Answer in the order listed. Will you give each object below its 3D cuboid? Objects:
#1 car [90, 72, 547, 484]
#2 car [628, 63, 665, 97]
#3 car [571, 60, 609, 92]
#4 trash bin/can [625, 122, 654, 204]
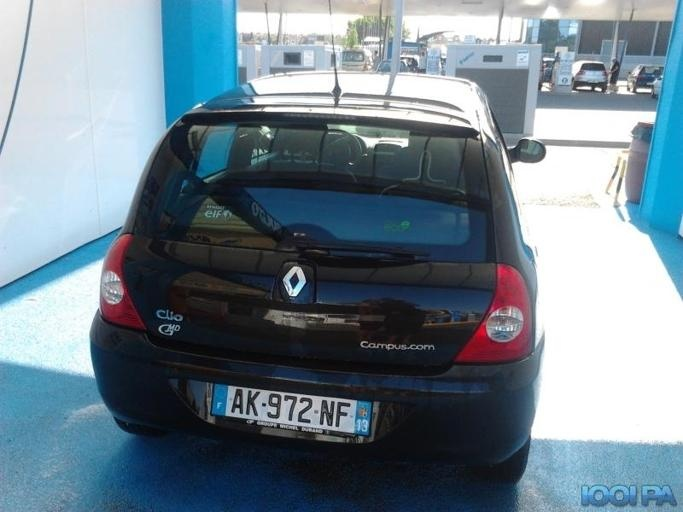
[{"bbox_3d":[0.140,-0.331,4.176,2.285,1.857,4.136,4,20,6],"label":"car"},{"bbox_3d":[16.987,-9.783,31.219,1.091,1.764,3.894,10,28,15],"label":"car"},{"bbox_3d":[14.388,-10.466,32.314,1.268,1.168,2.428,3,35,12],"label":"car"},{"bbox_3d":[4.200,-1.298,7.900,0.249,1.123,0.633,9,27,15],"label":"trash bin/can"}]
